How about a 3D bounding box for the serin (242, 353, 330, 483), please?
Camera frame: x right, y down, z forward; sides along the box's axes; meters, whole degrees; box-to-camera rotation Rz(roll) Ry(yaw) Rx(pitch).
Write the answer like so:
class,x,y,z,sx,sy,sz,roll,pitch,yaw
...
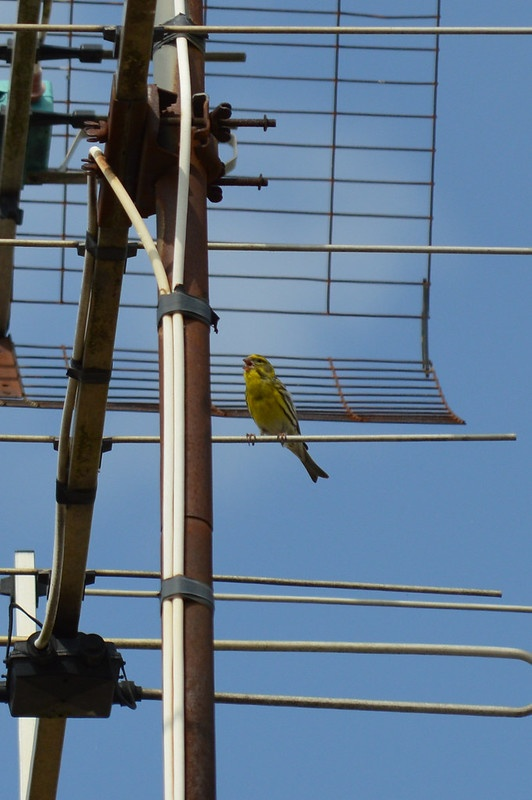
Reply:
class,x,y,z,sx,sy,sz,roll,pitch,yaw
serin,0.096,0.092,14.314,0.187,0.407,0.816,-8,-27,33
